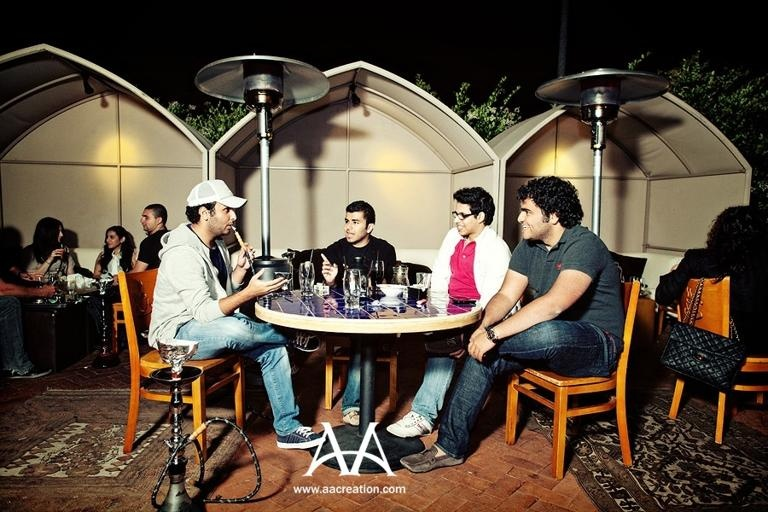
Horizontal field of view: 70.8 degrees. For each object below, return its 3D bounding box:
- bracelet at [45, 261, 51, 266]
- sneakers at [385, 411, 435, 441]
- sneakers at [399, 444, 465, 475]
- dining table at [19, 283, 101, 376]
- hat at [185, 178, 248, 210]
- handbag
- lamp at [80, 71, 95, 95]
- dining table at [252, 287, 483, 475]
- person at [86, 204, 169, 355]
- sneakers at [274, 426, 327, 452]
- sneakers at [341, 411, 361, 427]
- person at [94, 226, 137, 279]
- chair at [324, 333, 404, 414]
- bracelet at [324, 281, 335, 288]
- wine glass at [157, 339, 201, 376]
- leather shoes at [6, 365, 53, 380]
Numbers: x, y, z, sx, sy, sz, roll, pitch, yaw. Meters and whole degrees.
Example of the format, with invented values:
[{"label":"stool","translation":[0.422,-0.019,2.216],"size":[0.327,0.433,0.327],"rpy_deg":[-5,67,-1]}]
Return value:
[{"label":"bracelet","translation":[-4.765,0.112,7.610],"size":[0.041,0.041,0.043],"rpy_deg":[-2,2,2]},{"label":"sneakers","translation":[0.285,1.758,5.568],"size":[0.446,0.213,0.226],"rpy_deg":[1,-6,-4]},{"label":"sneakers","translation":[0.457,1.957,5.293],"size":[0.673,0.281,0.247],"rpy_deg":[3,-5,-12]},{"label":"dining table","translation":[-4.358,0.913,7.487],"size":[0.788,1.150,1.510],"rpy_deg":[3,1,8]},{"label":"hat","translation":[-1.782,-0.650,5.715],"size":[0.476,0.248,0.322],"rpy_deg":[-4,9,-8]},{"label":"handbag","translation":[3.347,0.794,5.659],"size":[0.737,1.102,0.439],"rpy_deg":[0,3,33]},{"label":"lamp","translation":[-4.514,-2.605,8.192],"size":[0.142,0.345,0.086],"rpy_deg":[-15,31,-31]},{"label":"dining table","translation":[-0.194,1.292,5.563],"size":[2.012,1.442,1.999],"rpy_deg":[3,-2,-40]},{"label":"person","translation":[-3.584,0.160,7.880],"size":[0.881,1.744,0.629],"rpy_deg":[5,12,-8]},{"label":"sneakers","translation":[-0.843,1.845,5.461],"size":[0.488,0.213,0.216],"rpy_deg":[-2,-11,4]},{"label":"sneakers","translation":[-0.351,1.756,5.846],"size":[0.113,0.093,0.211],"rpy_deg":[5,-6,-23]},{"label":"person","translation":[-4.102,-0.007,8.263],"size":[0.636,0.863,0.548],"rpy_deg":[-1,-1,2]},{"label":"chair","translation":[-0.273,1.327,6.556],"size":[0.841,0.865,0.867],"rpy_deg":[1,3,1]},{"label":"bracelet","translation":[-0.610,0.317,6.120],"size":[0.079,0.063,0.081],"rpy_deg":[2,1,-9]},{"label":"wine glass","translation":[-1.822,0.888,4.781],"size":[0.294,0.327,0.307],"rpy_deg":[-3,-6,35]},{"label":"leather shoes","translation":[-4.493,1.462,6.808],"size":[0.427,0.176,0.160],"rpy_deg":[-1,1,-18]}]
